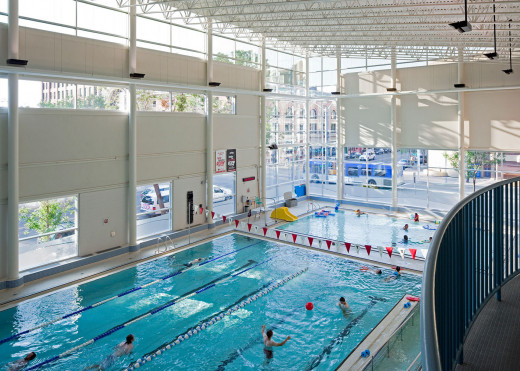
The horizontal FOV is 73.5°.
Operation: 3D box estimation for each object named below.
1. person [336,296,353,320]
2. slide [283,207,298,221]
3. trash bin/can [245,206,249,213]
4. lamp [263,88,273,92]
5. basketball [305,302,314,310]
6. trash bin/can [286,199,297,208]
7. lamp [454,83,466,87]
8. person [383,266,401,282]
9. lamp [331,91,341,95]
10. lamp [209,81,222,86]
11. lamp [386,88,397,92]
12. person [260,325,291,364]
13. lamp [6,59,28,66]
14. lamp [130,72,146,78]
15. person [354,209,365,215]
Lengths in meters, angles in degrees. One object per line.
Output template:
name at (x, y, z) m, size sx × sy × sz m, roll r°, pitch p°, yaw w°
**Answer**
person at (2.714, 3.899, 11.137) m, size 0.432 × 0.332 × 0.803 m, roll 2°, pitch 14°, yaw 7°
slide at (1.801, 1.705, 20.535) m, size 0.841 × 0.624 × 0.550 m, roll 7°, pitch 8°, yaw 31°
trash bin/can at (-0.810, 1.438, 20.770) m, size 0.330 × 0.376 × 0.330 m, roll 0°, pitch 3°, yaw -23°
lamp at (0.438, -5.764, 21.021) m, size 0.578 × 0.239 × 0.370 m, roll -6°, pitch 16°, yaw -23°
basketball at (1.599, 3.938, 11.335) m, size 0.198 × 0.236 × 0.201 m, roll -3°, pitch -7°, yaw 28°
trash bin/can at (2.107, 1.179, 23.332) m, size 0.881 × 0.482 × 0.408 m, roll -10°, pitch 17°, yaw -36°
lamp at (10.933, -5.493, 19.154) m, size 0.478 × 0.256 × 0.528 m, roll 6°, pitch 16°, yaw 23°
person at (5.116, 3.388, 13.435) m, size 0.550 × 0.216 × 1.278 m, roll 8°, pitch 16°, yaw 27°
lamp at (5.062, -6.203, 23.294) m, size 0.585 × 0.235 × 0.584 m, roll 4°, pitch 15°, yaw 13°
lamp at (-2.386, -5.260, 18.081) m, size 0.571 × 0.229 × 0.434 m, roll -8°, pitch 16°, yaw -28°
lamp at (7.997, -5.879, 21.312) m, size 0.597 × 0.250 × 0.539 m, roll 9°, pitch 17°, yaw 31°
person at (0.279, 4.616, 9.784) m, size 0.908 × 1.072 × 0.356 m, roll 10°, pitch 8°, yaw 40°
lamp at (-8.297, -4.242, 11.967) m, size 0.617 × 0.247 × 0.732 m, roll -11°, pitch 18°, yaw -37°
lamp at (-5.344, -4.787, 15.113) m, size 0.575 × 0.258 × 0.647 m, roll -6°, pitch 15°, yaw -21°
person at (6.222, 1.639, 21.788) m, size 0.613 × 0.268 × 0.931 m, roll 4°, pitch 15°, yaw 15°
